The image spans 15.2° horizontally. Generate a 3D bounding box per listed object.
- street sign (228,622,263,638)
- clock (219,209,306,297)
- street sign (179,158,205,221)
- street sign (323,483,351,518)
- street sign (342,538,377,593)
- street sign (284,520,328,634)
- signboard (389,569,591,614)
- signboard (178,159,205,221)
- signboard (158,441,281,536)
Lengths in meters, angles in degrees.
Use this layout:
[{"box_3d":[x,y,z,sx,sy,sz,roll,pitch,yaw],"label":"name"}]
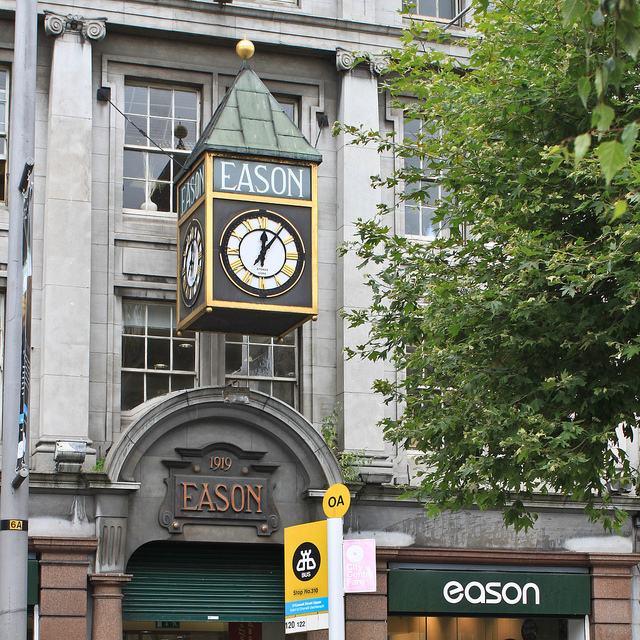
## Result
[{"box_3d":[-1.188,5.010,38.539,0.547,0.245,0.227,-1,-11,-3],"label":"street sign"},{"box_3d":[-0.859,-0.959,36.019,1.355,1.323,0.131,4,-12,-29],"label":"clock"},{"box_3d":[-1.916,-1.944,36.534,0.023,0.528,0.906,11,-30,-19],"label":"street sign"},{"box_3d":[0.197,2.230,29.260,0.218,0.421,0.480,6,-13,-37],"label":"street sign"},{"box_3d":[0.486,3.128,30.445,0.371,0.723,0.939,-2,-11,3],"label":"street sign"},{"box_3d":[-0.158,3.250,30.111,0.300,1.333,1.017,4,-12,-27],"label":"street sign"},{"box_3d":[2.767,4.348,38.464,2.053,1.000,0.324,7,-14,-6],"label":"signboard"},{"box_3d":[-1.936,-1.943,36.652,0.031,0.721,1.232,7,-23,-23],"label":"signboard"},{"box_3d":[-1.531,2.598,36.680,1.877,1.445,0.224,3,-11,-25],"label":"signboard"}]
